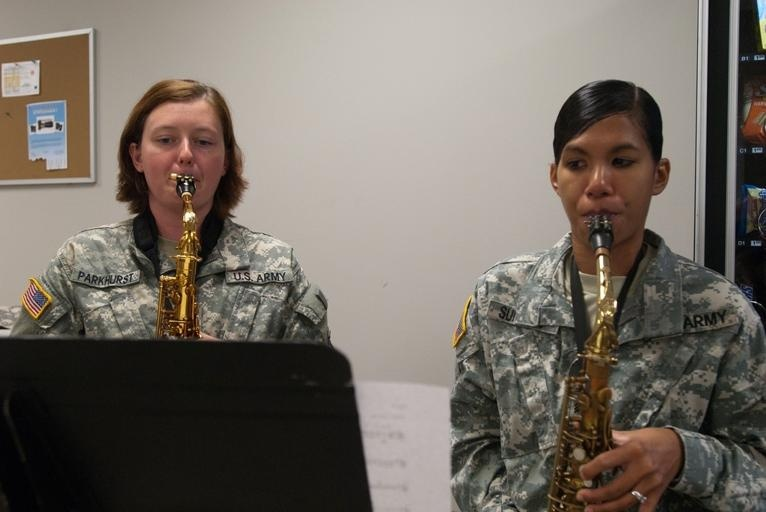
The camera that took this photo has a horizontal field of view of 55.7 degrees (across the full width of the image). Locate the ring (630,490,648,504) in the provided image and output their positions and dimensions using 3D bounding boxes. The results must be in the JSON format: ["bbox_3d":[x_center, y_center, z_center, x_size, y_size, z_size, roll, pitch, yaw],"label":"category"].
[{"bbox_3d":[0.666,0.626,1.888,0.038,0.017,0.029,34,-6,34],"label":"ring"}]
